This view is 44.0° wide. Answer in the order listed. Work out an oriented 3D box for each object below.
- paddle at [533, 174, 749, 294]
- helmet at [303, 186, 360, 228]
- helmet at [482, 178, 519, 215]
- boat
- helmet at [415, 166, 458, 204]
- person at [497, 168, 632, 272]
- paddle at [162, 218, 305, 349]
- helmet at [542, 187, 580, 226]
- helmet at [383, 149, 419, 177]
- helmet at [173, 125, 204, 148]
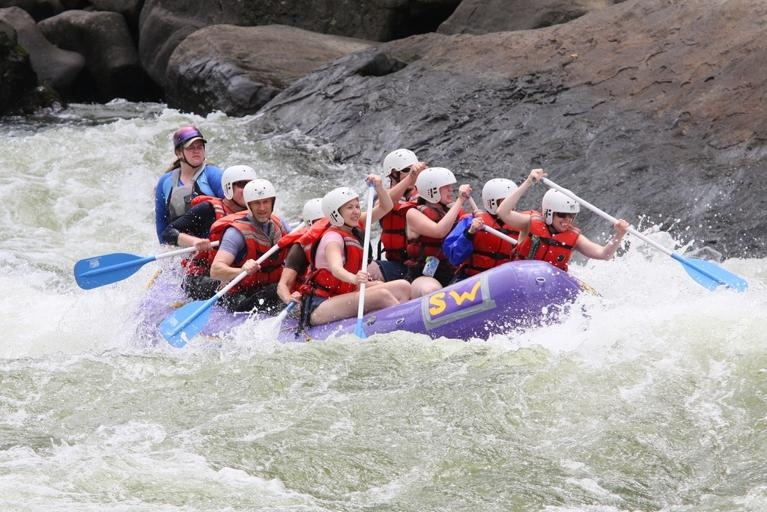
[{"bbox_3d":[3.162,-0.223,11.308,2.660,0.350,0.160,31,-12,2],"label":"paddle"},{"bbox_3d":[-0.515,-0.519,10.463,0.505,0.351,0.346,-14,-2,16],"label":"helmet"},{"bbox_3d":[1.374,-0.688,10.751,0.445,0.370,0.339,25,23,36],"label":"helmet"},{"bbox_3d":[-0.081,0.520,10.287,3.828,0.621,1.788,-9,5,22],"label":"boat"},{"bbox_3d":[0.623,-0.806,10.682,0.473,0.319,0.323,0,9,12],"label":"helmet"},{"bbox_3d":[2.192,-0.394,11.194,0.998,1.214,0.339,33,-16,1],"label":"person"},{"bbox_3d":[-1.653,0.324,10.703,0.362,2.088,0.168,49,-10,22],"label":"paddle"},{"bbox_3d":[1.897,-0.523,10.308,0.391,0.386,0.228,27,27,15],"label":"helmet"},{"bbox_3d":[0.175,-1.117,11.309,0.294,0.395,0.293,-13,68,-55],"label":"helmet"},{"bbox_3d":[-2.470,-1.476,11.775,0.287,0.187,0.372,-10,13,-29],"label":"helmet"}]
